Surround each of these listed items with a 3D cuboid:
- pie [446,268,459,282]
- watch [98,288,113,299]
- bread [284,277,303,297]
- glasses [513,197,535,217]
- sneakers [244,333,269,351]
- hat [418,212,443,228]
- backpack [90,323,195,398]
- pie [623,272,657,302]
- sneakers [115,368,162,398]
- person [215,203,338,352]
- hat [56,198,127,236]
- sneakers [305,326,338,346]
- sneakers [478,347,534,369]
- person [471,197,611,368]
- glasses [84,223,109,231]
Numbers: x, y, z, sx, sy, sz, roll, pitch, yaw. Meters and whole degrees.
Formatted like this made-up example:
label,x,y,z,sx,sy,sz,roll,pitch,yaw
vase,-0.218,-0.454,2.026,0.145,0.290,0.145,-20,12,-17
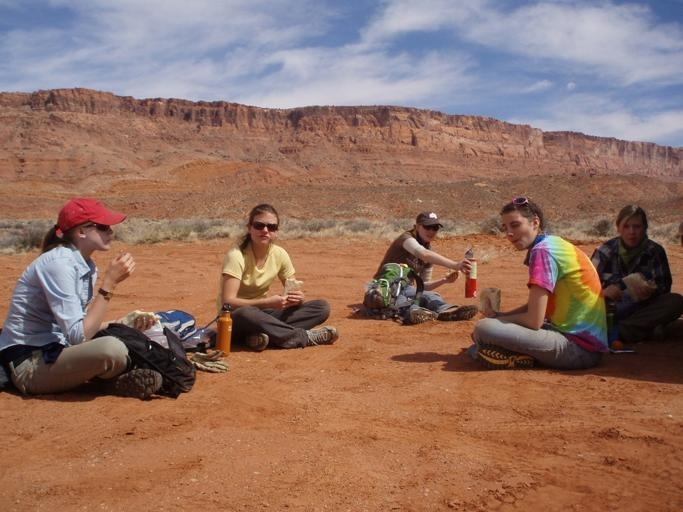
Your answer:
label,x,y,z,sx,sy,sz,roll,pitch,yaw
pie,1.317,0.233,5.983,0.159,0.122,0.052,12,-9,27
watch,-1.689,0.259,3.521,0.071,0.058,0.072,14,-7,34
bread,-0.507,0.306,5.039,0.161,0.157,0.277,0,3,-11
glasses,1.563,-0.435,4.266,0.180,0.158,0.053,7,44,39
sneakers,-0.888,0.861,5.105,0.249,0.195,0.233,1,3,-3
hat,1.057,-0.451,6.235,0.247,0.123,0.307,2,0,-21
backpack,-1.447,0.760,3.862,0.675,0.313,0.611,42,14,12
pie,2.981,0.311,5.132,0.377,0.243,0.294,5,11,17
sneakers,-1.551,0.956,3.758,0.380,0.171,0.137,-1,11,3
person,-0.685,0.223,5.113,1.211,1.467,0.704,0,4,-20
hat,-1.877,-0.289,3.645,0.526,0.207,0.288,-5,12,-18
sneakers,-0.215,0.851,5.361,0.433,0.123,0.161,-3,14,0
sneakers,1.413,0.894,4.502,0.547,0.143,0.221,4,12,5
person,1.715,0.247,4.300,1.139,1.491,0.661,3,4,18
glasses,-1.774,-0.209,3.601,0.100,0.027,0.069,4,-5,16
